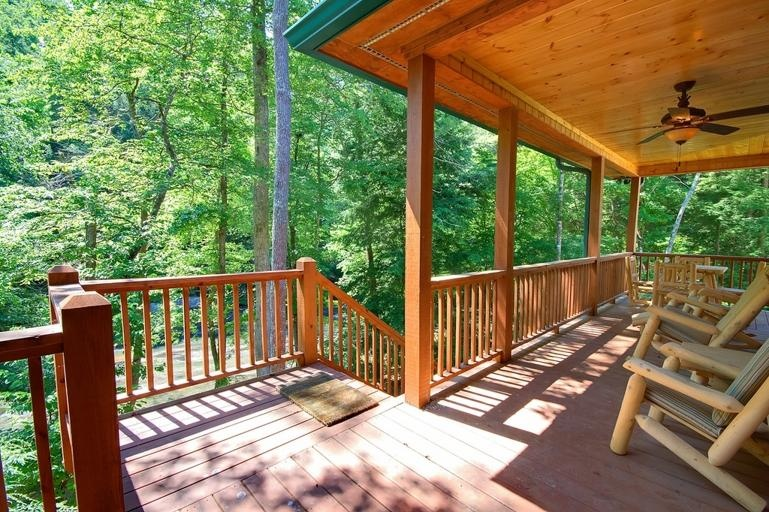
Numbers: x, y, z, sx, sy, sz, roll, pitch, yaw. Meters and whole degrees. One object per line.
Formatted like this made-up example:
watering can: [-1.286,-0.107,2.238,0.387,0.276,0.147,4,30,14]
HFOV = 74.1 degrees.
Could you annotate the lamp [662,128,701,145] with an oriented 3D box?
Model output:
lamp: [4.037,-1.655,7.005,0.321,0.144,0.319,2,-3,3]

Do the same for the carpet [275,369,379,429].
carpet: [-0.707,1.747,6.267,1.104,0.258,0.704,8,11,39]

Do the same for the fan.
fan: [4.332,-1.831,6.935,1.038,0.518,1.159,4,0,2]
